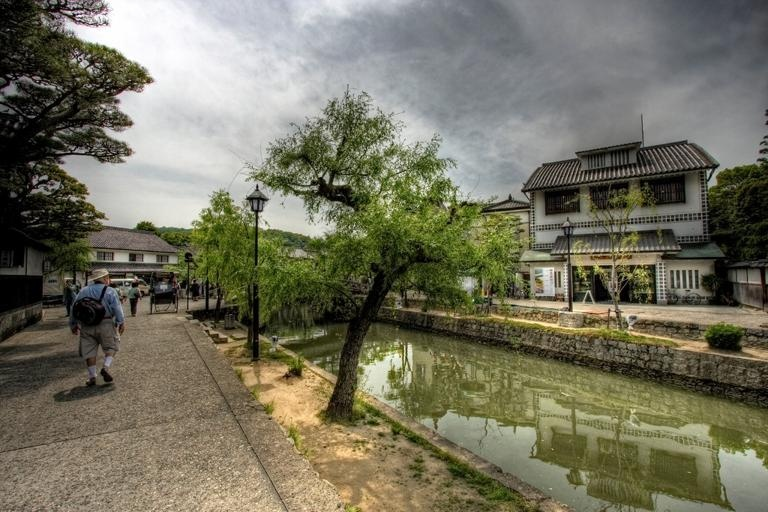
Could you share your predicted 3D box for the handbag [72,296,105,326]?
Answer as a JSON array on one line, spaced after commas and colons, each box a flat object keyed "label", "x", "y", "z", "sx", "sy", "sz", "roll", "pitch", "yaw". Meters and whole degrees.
[{"label": "handbag", "x": -8.305, "y": 1.530, "z": 12.626, "sx": 0.826, "sy": 0.790, "sz": 0.443, "roll": 0, "pitch": 3, "yaw": -8}]

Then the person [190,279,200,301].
[{"label": "person", "x": -15.339, "y": 2.744, "z": 36.401, "sx": 0.538, "sy": 1.449, "sz": 2.788, "roll": 6, "pitch": -6, "yaw": -25}]

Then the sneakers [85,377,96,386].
[{"label": "sneakers", "x": -8.292, "y": 3.531, "z": 12.735, "sx": 0.165, "sy": 0.147, "sz": 0.351, "roll": 3, "pitch": 2, "yaw": -22}]

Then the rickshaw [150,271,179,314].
[{"label": "rickshaw", "x": -12.207, "y": 1.894, "z": 24.799, "sx": 1.338, "sy": 2.069, "sz": 2.363, "roll": -4, "pitch": 10, "yaw": -29}]

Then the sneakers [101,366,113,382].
[{"label": "sneakers", "x": -7.903, "y": 3.367, "z": 12.817, "sx": 0.232, "sy": 0.481, "sz": 0.211, "roll": -29, "pitch": 28, "yaw": -27}]
